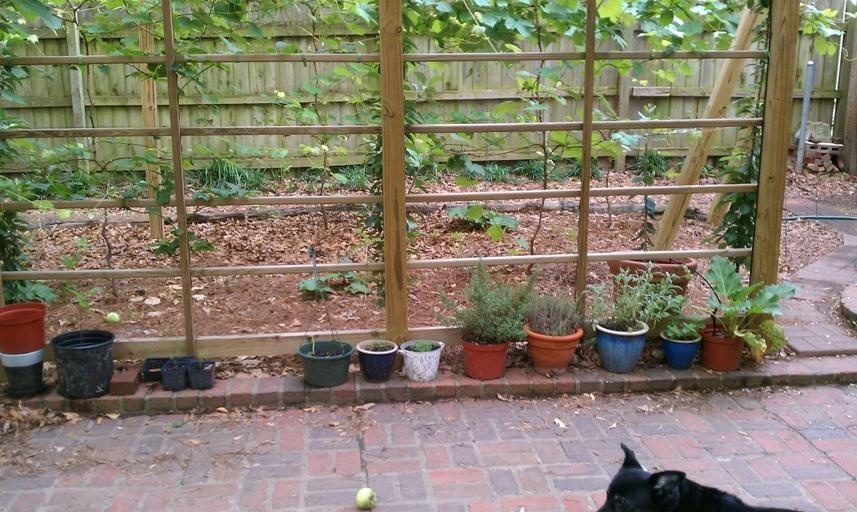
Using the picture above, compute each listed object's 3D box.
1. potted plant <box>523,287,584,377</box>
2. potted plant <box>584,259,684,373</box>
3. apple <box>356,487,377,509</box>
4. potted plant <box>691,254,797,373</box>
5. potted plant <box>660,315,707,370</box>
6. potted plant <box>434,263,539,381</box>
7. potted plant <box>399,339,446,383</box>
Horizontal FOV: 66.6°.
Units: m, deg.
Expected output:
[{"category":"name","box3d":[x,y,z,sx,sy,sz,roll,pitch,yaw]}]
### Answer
[{"category":"potted plant","box3d":[0.820,0.584,5.104,0.596,0.528,0.542,0,11,-5]},{"category":"potted plant","box3d":[1.449,0.527,5.138,0.697,0.676,0.639,10,9,40]},{"category":"apple","box3d":[-0.380,1.479,4.003,0.132,0.112,0.123,4,-18,-8]},{"category":"potted plant","box3d":[2.361,0.415,5.071,0.958,0.581,0.882,-3,12,-17]},{"category":"potted plant","box3d":[1.965,0.684,5.107,0.347,0.308,0.327,3,0,-32]},{"category":"potted plant","box3d":[0.521,0.483,5.293,0.895,0.890,0.936,0,6,9]},{"category":"potted plant","box3d":[-0.059,0.789,4.954,0.328,0.213,0.363,13,17,43]}]
